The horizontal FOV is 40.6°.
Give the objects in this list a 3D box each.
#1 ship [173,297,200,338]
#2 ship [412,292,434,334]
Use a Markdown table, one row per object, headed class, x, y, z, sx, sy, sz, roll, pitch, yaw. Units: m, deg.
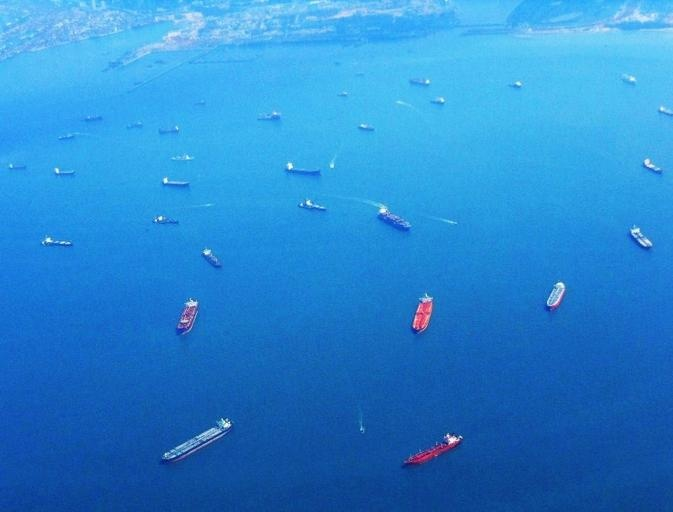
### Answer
| class | x | y | z | sx | sy | sz | roll | pitch | yaw |
| --- | --- | --- | --- | --- | --- | --- | --- | --- | --- |
| ship | -4.870 | 1.997 | 29.969 | 0.506 | 0.291 | 1.220 | 2 | 58 | 25 |
| ship | 2.834 | 1.901 | 29.764 | 0.569 | 0.315 | 1.235 | 2 | 60 | 29 |
